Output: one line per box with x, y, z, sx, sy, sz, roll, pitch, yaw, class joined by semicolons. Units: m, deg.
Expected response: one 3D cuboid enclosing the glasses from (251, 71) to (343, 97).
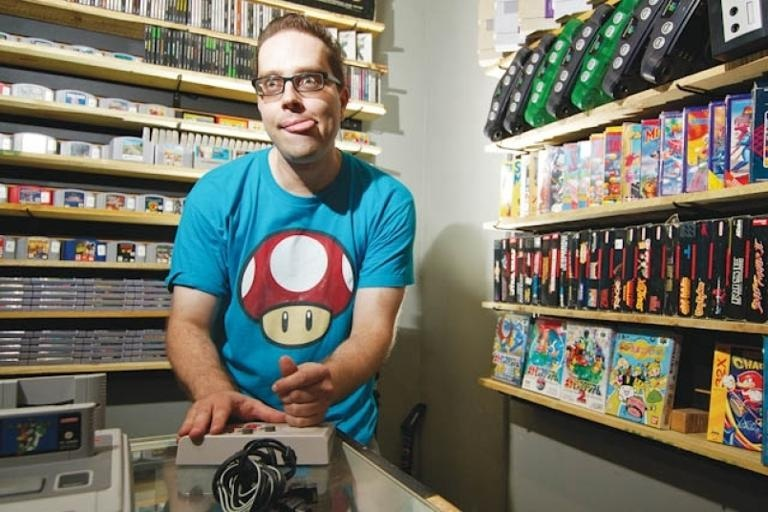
-0.317;-0.629;2.138;0.326;0.091;0.083;-1;2;-8;glasses

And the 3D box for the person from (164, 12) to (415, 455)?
-0.352;-0.160;2.230;0.735;1.479;0.677;0;2;31;person
